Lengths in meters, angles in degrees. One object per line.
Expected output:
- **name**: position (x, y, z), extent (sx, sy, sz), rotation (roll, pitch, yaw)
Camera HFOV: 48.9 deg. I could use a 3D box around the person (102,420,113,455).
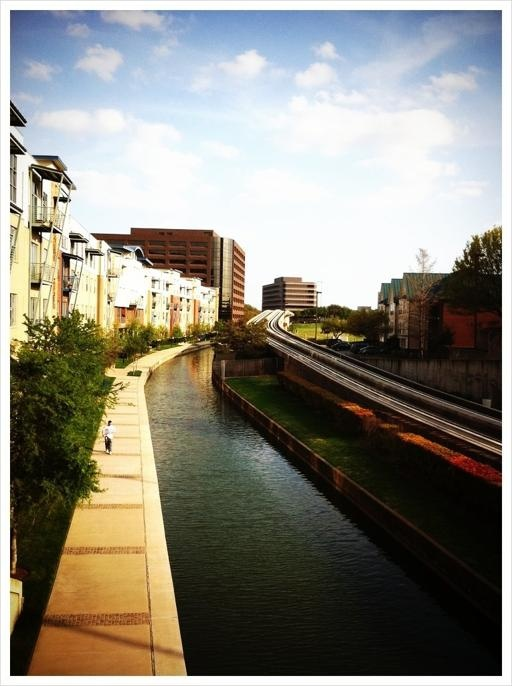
- **person**: position (-6.940, 4.454, 26.426), extent (0.477, 1.574, 1.151), rotation (2, 3, -16)
